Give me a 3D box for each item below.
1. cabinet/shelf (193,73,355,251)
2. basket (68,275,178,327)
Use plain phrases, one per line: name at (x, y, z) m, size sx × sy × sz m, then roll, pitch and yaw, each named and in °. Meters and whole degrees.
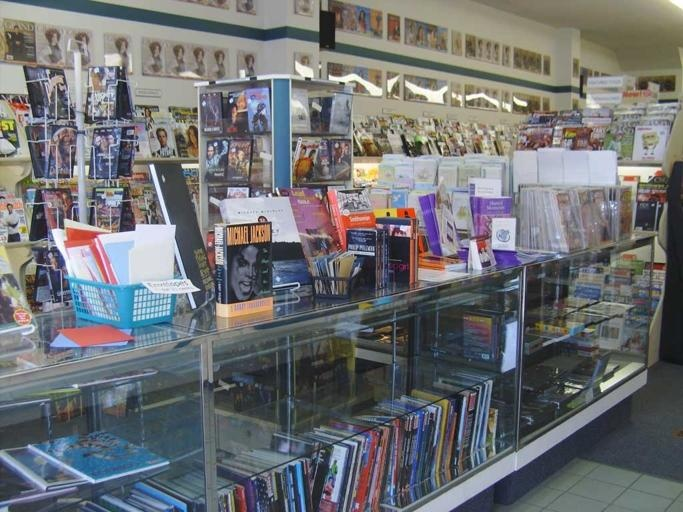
cabinet/shelf at (-0.637, -1.005, 5.989) m, size 1.254 × 1.476 × 1.236 m, roll -6°, pitch 11°, yaw -23°
basket at (-0.793, 0.162, 2.171) m, size 0.272 × 0.121 × 0.191 m, roll 12°, pitch 10°, yaw 35°
